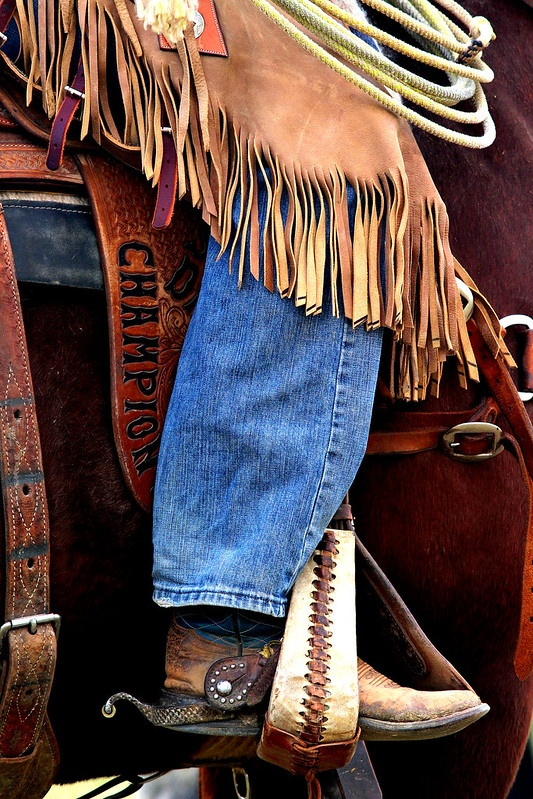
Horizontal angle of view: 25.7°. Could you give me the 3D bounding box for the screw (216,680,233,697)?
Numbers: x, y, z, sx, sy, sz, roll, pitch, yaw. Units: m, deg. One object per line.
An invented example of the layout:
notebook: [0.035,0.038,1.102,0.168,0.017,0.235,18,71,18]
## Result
screw: [-0.046,0.320,1.294,0.017,0.009,0.015,16,47,-13]

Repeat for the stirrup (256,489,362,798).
stirrup: [0.060,0.281,1.346,0.085,0.108,0.315,10,77,-7]

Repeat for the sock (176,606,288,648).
sock: [-0.040,0.250,1.352,0.125,0.064,0.045,4,9,-6]

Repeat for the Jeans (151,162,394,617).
Jeans: [0.018,0.009,1.406,0.270,0.198,0.578,-4,52,17]

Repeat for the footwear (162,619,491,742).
footwear: [0.069,0.326,1.341,0.362,0.128,0.181,-5,50,15]
